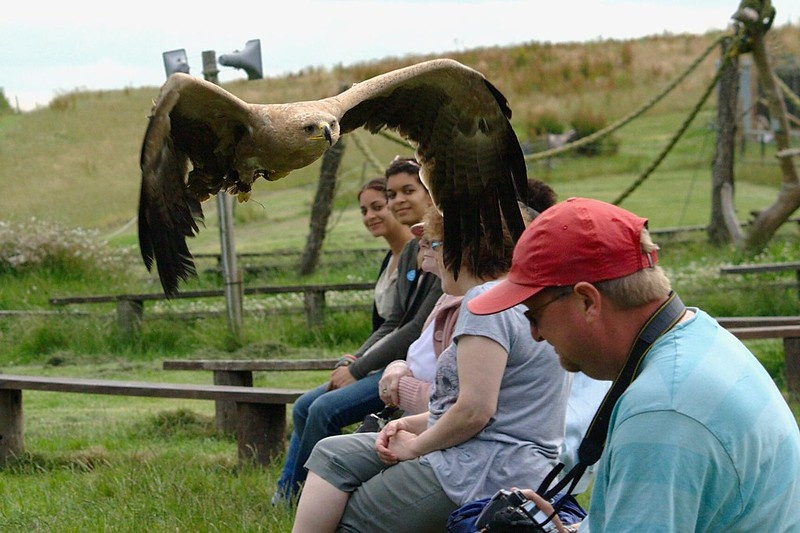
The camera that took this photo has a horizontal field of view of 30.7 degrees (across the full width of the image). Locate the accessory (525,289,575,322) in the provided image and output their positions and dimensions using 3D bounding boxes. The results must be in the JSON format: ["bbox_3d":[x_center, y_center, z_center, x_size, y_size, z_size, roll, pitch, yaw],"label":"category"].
[{"bbox_3d":[1.002,0.240,9.692,0.266,0.070,0.199,-36,-2,3],"label":"accessory"}]
